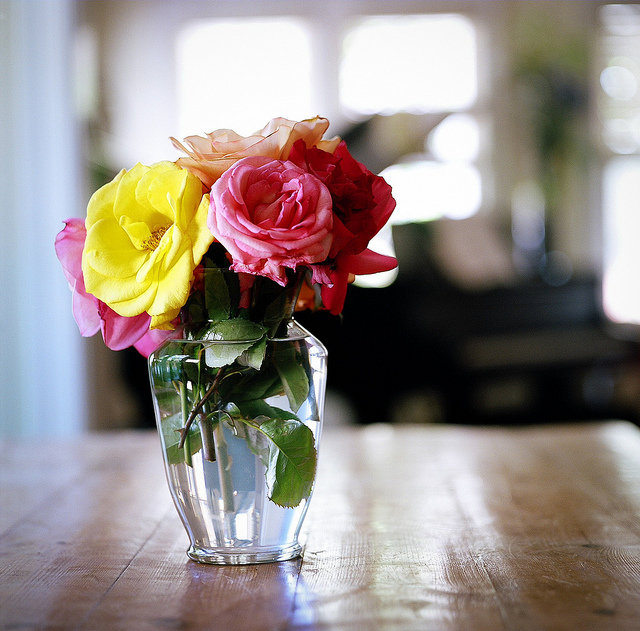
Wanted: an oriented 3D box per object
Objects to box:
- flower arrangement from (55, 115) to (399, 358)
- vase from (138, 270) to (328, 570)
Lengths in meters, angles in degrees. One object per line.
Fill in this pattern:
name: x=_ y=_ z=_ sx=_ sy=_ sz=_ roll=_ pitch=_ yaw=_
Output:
flower arrangement: x=-0.088 y=-0.037 z=0.525 sx=0.172 sy=0.154 sz=0.246 roll=-17 pitch=25 yaw=-35
vase: x=-0.061 y=0.087 z=0.554 sx=0.134 sy=0.243 sz=0.110 roll=-2 pitch=2 yaw=-35
